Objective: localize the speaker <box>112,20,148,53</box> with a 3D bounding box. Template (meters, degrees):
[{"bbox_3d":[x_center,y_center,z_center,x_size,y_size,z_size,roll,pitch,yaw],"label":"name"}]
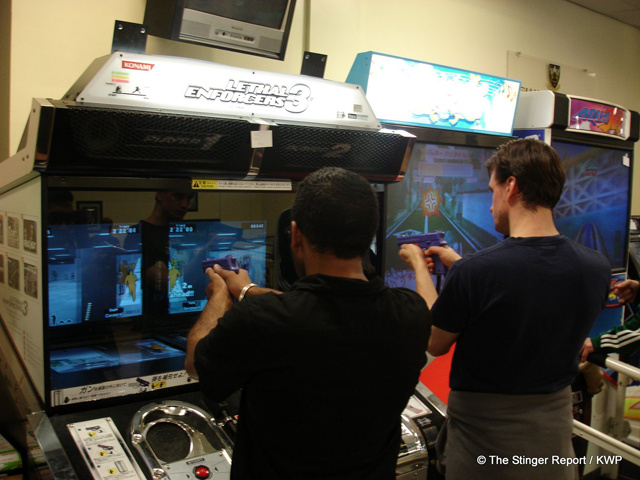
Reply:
[{"bbox_3d":[-0.674,-0.713,1.718,0.116,0.122,0.095,-3,9,-21],"label":"speaker"}]

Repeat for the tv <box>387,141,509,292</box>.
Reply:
[{"bbox_3d":[0.589,-0.133,2.370,0.861,0.844,0.047,-5,14,-23],"label":"tv"}]
